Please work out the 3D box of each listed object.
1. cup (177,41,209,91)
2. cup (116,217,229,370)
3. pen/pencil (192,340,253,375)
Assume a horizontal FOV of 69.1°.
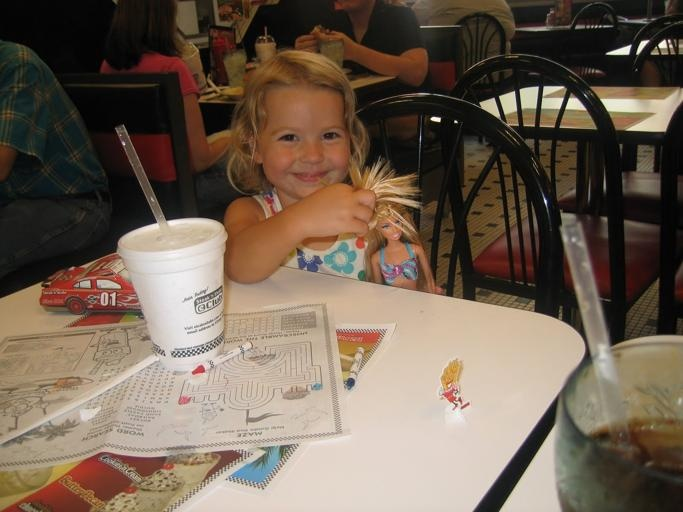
[{"bbox_3d":[-0.933,-1.131,3.044,0.157,0.266,0.229,-5,35,-4],"label":"cup"},{"bbox_3d":[-0.226,0.070,0.711,0.159,0.165,0.154,-4,7,1],"label":"cup"},{"bbox_3d":[-0.164,0.141,0.678,0.083,0.014,0.013,-24,74,-29],"label":"pen/pencil"}]
